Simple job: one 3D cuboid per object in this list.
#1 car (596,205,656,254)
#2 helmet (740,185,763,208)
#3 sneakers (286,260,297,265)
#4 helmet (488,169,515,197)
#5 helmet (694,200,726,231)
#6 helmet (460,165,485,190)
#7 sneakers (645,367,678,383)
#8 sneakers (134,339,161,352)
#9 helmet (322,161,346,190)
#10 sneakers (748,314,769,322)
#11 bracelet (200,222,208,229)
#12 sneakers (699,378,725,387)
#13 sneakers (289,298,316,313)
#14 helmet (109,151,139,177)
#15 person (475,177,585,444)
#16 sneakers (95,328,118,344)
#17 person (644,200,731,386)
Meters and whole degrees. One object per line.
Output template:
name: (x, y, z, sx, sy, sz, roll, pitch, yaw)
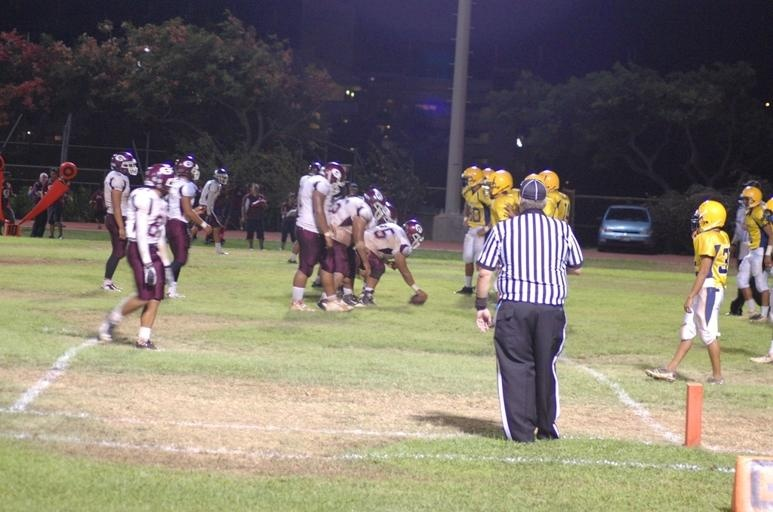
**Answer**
car: (9.682, -1.192, 37.279, 1.385, 1.187, 2.617, 0, -7, 16)
helmet: (7.625, -1.219, 19.180, 0.609, 0.541, 0.476, 4, 5, 24)
sneakers: (-2.609, 0.173, 25.474, 0.264, 0.100, 0.093, -1, 5, 7)
helmet: (2.236, -1.469, 18.521, 0.559, 0.517, 0.438, 7, 8, 23)
helmet: (4.774, -0.608, 13.837, 0.501, 0.476, 0.400, 15, 20, 40)
helmet: (1.935, -1.789, 20.936, 0.583, 0.465, 0.440, 4, 5, -7)
sneakers: (4.115, 1.788, 13.949, 0.488, 0.207, 0.178, 13, -17, 9)
sneakers: (-3.649, 1.384, 14.261, 0.417, 0.165, 0.150, 4, 4, -10)
helmet: (-0.991, -1.492, 17.508, 0.307, 0.518, 0.665, 10, 13, 33)
sneakers: (7.639, 1.291, 19.037, 0.435, 0.158, 0.142, -2, 2, 20)
bracelet: (-3.642, -0.615, 18.541, 0.128, 0.157, 0.302, -3, 0, -11)
sneakers: (4.907, 1.905, 13.874, 0.303, 0.124, 0.107, 2, 2, 20)
sneakers: (-1.503, 0.955, 17.503, 0.626, 0.241, 0.181, 0, 12, -22)
helmet: (-4.767, -1.645, 16.995, 0.674, 0.467, 0.499, 2, 10, -11)
person: (1.690, 0.683, 11.166, 1.178, 3.173, 0.783, 5, 11, 11)
sneakers: (-4.380, 1.218, 14.576, 0.309, 0.268, 0.214, 2, -2, 1)
person: (4.747, 0.556, 13.990, 0.902, 2.765, 1.221, 6, 11, 20)
